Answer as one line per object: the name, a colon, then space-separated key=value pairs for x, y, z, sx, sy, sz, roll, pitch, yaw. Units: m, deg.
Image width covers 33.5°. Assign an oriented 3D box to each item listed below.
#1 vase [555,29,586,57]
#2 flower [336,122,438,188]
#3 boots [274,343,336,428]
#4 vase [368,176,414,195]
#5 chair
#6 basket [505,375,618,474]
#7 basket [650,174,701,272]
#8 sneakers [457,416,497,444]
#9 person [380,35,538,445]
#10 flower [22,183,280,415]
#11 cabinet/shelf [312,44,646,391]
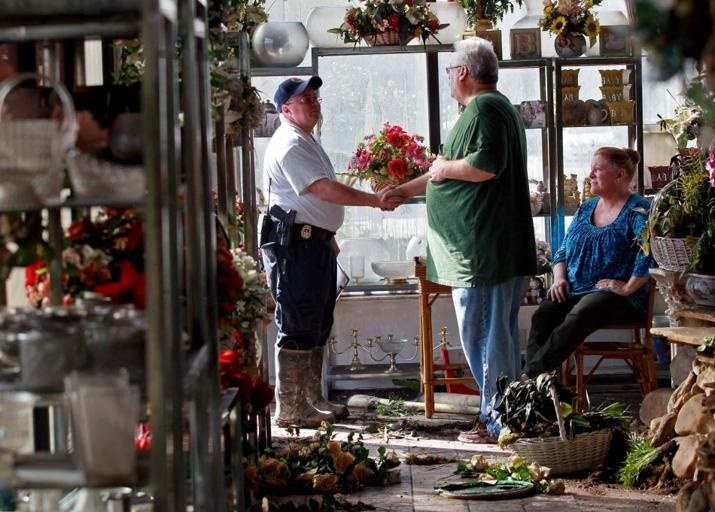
vase: x=1.207 y=-1.223 z=6.808 sx=0.142 sy=0.119 sz=0.141 roll=1 pitch=-1 yaw=-1
flower: x=0.164 y=-0.546 z=6.420 sx=0.397 sy=0.322 sz=0.385 roll=-9 pitch=18 yaw=-23
boots: x=-0.328 y=0.677 z=6.005 sx=0.422 sy=0.520 sz=0.277 roll=0 pitch=4 yaw=-6
vase: x=0.155 y=-0.397 z=6.388 sx=0.134 sy=0.076 sz=0.128 roll=-5 pitch=7 yaw=-19
chair: x=1.305 y=0.423 z=6.220 sx=0.492 sy=0.672 sz=0.449 roll=2 pitch=7 yaw=25
basket: x=0.891 y=0.730 z=5.262 sx=0.562 sy=0.440 sz=0.351 roll=-1 pitch=10 yaw=6
basket: x=1.546 y=-0.164 z=5.684 sx=0.333 sy=0.456 sz=0.303 roll=7 pitch=6 yaw=18
sneakers: x=0.569 y=0.853 z=5.766 sx=0.175 sy=0.084 sz=0.091 roll=3 pitch=4 yaw=44
person: x=0.596 y=-0.070 z=5.712 sx=0.450 sy=1.932 sz=0.799 roll=-5 pitch=10 yaw=-20
flower: x=-0.725 y=0.145 z=4.533 sx=0.756 sy=0.943 sz=0.881 roll=-1 pitch=1 yaw=33
cabinet/shelf: x=0.681 y=-0.211 z=6.380 sx=2.058 sy=2.322 sz=0.767 roll=0 pitch=3 yaw=0
